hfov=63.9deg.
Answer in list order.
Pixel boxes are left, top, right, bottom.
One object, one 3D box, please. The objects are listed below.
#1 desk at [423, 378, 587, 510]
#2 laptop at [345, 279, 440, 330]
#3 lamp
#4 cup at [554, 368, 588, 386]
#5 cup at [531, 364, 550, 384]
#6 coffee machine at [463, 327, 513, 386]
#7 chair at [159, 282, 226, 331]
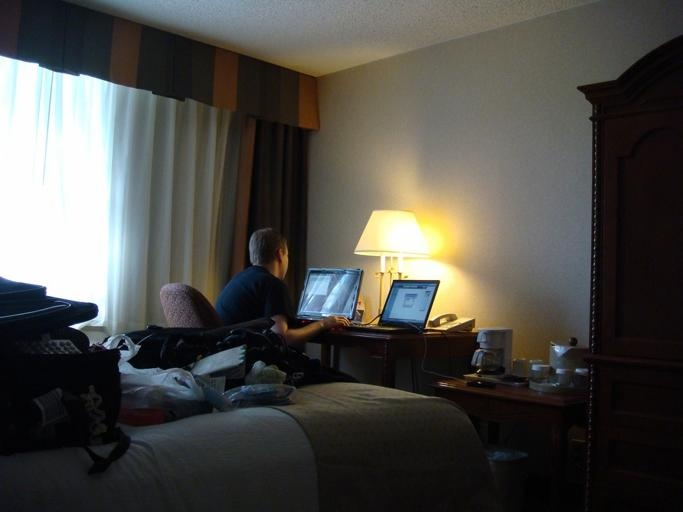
[{"bbox_3d":[0.821,0.951,2.733,0.533,0.693,0.708,7,-10,-28],"label":"desk"},{"bbox_3d":[0.395,0.300,3.405,0.343,0.287,0.389,7,-8,-31],"label":"laptop"},{"bbox_3d":[0.335,0.160,3.774,0.407,0.863,0.422,4,-2,-33],"label":"lamp"},{"bbox_3d":[1.143,0.585,2.706,0.126,0.056,0.091,-4,-3,23],"label":"cup"},{"bbox_3d":[1.030,0.594,2.842,0.098,0.098,0.098,1,-2,0],"label":"cup"},{"bbox_3d":[0.862,0.545,2.998,0.252,0.340,0.238,3,-5,-23],"label":"coffee machine"},{"bbox_3d":[-0.803,0.287,2.914,0.311,0.182,0.523,5,2,-18],"label":"chair"}]
